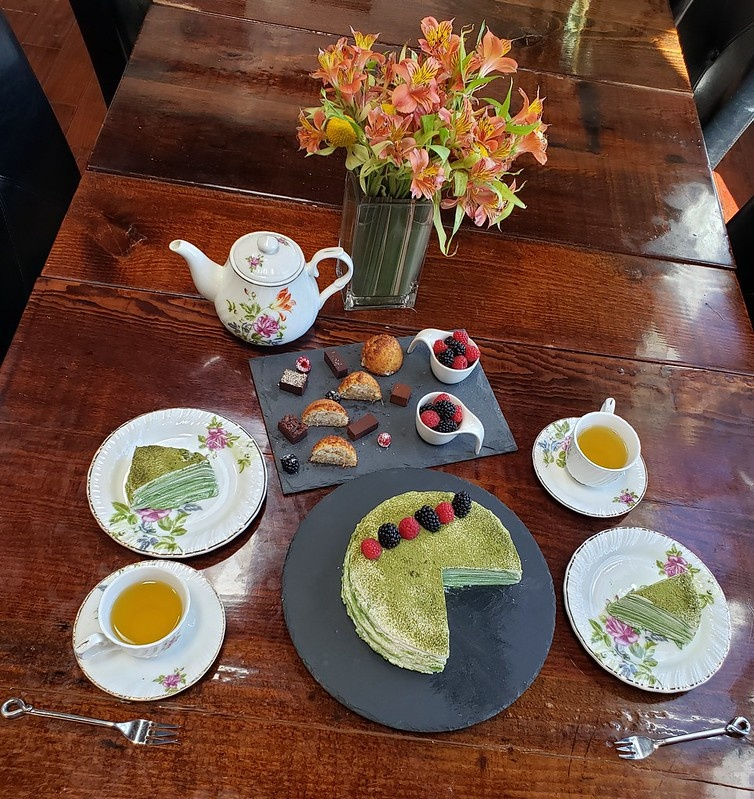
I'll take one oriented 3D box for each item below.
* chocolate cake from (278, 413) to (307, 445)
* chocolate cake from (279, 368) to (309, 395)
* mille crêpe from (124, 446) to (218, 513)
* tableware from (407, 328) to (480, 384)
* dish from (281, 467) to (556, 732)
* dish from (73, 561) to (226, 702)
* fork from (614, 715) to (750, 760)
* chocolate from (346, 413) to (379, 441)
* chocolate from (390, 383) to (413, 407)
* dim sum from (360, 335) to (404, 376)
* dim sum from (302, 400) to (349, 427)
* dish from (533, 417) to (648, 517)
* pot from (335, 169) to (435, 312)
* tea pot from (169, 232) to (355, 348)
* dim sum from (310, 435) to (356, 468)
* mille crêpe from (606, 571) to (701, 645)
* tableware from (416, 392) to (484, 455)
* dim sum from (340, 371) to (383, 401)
[{"bbox_3d":[-0.188,0.057,1.502,0.060,0.035,0.076,-30,56,-31],"label":"chocolate cake"},{"bbox_3d":[-0.185,-0.042,1.565,0.073,0.032,0.052,20,51,17],"label":"chocolate cake"},{"bbox_3d":[-0.410,0.156,1.376,0.120,0.063,0.210,-15,41,-37],"label":"mille crêpe"},{"bbox_3d":[0.167,-0.110,1.621,0.172,0.082,0.106,20,56,16],"label":"tableware"},{"bbox_3d":[0.082,0.346,1.294,0.512,0.078,0.491,5,61,-5],"label":"dish"},{"bbox_3d":[-0.387,0.388,1.177,0.248,0.107,0.234,-27,69,-20],"label":"dish"},{"bbox_3d":[0.539,0.602,1.230,0.282,0.032,0.045,-5,37,-12],"label":"fork"},{"bbox_3d":[-0.031,0.060,1.530,0.073,0.027,0.040,-32,71,-22],"label":"chocolate"},{"bbox_3d":[0.056,-0.011,1.571,0.056,0.035,0.050,9,44,0],"label":"chocolate"},{"bbox_3d":[0.003,-0.096,1.653,0.103,0.056,0.094,-17,55,-19],"label":"dim sum"},{"bbox_3d":[-0.113,0.032,1.512,0.112,0.050,0.060,1,33,-1],"label":"dim sum"},{"bbox_3d":[0.476,0.146,1.513,0.248,0.250,0.041,31,82,29],"label":"dish"},{"bbox_3d":[-0.011,-0.385,1.699,0.258,0.315,0.232,2,19,-8],"label":"pot"},{"bbox_3d":[-0.259,-0.275,1.605,0.404,0.238,0.222,1,53,-9],"label":"tea pot"},{"bbox_3d":[-0.091,0.113,1.466,0.117,0.058,0.061,3,37,4],"label":"dim sum"},{"bbox_3d":[0.543,0.387,1.344,0.159,0.053,0.148,18,61,2],"label":"mille crêpe"},{"bbox_3d":[0.164,0.054,1.530,0.172,0.066,0.104,31,51,16],"label":"tableware"},{"bbox_3d":[-0.035,-0.026,1.619,0.098,0.047,0.066,3,39,1],"label":"dim sum"}]
